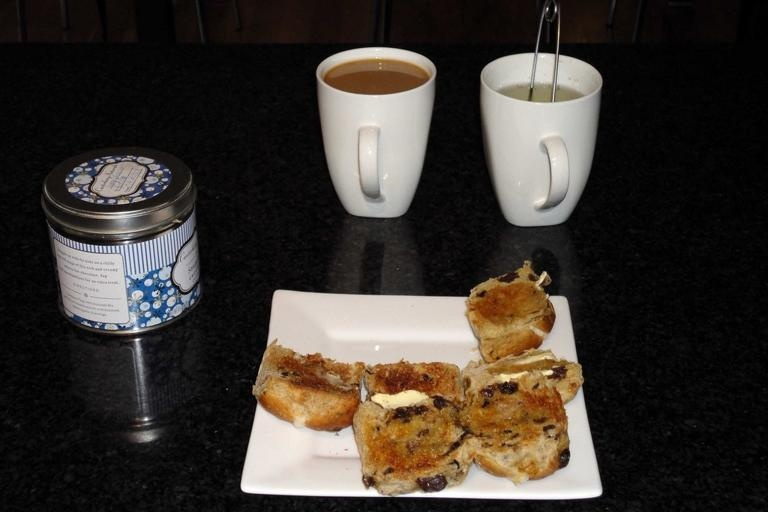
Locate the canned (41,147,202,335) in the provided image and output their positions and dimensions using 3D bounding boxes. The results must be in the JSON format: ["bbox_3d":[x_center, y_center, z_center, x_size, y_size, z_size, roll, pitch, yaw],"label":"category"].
[{"bbox_3d":[-0.332,-0.017,0.846,0.180,0.208,0.152,7,31,6],"label":"canned"}]

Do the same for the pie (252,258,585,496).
[{"bbox_3d":[0.033,0.127,0.720,0.305,0.089,0.254,2,43,-1],"label":"pie"}]

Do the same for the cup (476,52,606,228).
[{"bbox_3d":[0.216,-0.188,1.044,0.183,0.208,0.276,0,40,9],"label":"cup"}]

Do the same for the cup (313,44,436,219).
[{"bbox_3d":[-0.010,-0.207,1.040,0.177,0.227,0.260,1,40,1],"label":"cup"}]
